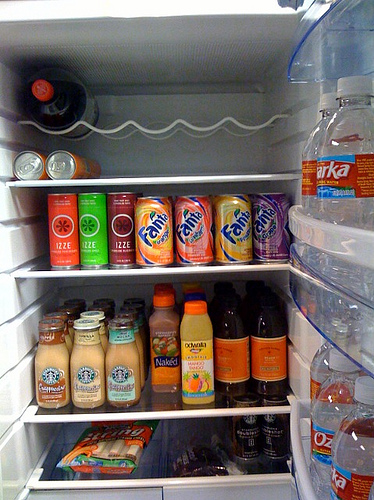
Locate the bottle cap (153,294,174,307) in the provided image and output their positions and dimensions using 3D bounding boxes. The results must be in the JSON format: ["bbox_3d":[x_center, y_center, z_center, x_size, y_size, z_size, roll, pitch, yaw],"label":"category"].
[{"bbox_3d":[-0.062,0.137,1.050,0.039,0.039,0.021,1,-84,-8],"label":"bottle cap"}]

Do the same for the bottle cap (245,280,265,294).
[{"bbox_3d":[0.214,0.117,1.227,0.046,0.043,0.032,0,-94,-5],"label":"bottle cap"}]

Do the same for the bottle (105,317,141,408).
[{"bbox_3d":[-0.171,0.305,1.027,0.095,0.093,0.222,-1,-93,-8],"label":"bottle"}]

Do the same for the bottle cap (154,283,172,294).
[{"bbox_3d":[-0.071,0.111,1.151,0.037,0.037,0.022,0,-88,-11],"label":"bottle cap"}]

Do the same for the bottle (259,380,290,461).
[{"bbox_3d":[0.240,0.490,1.061,0.066,0.065,0.163,-2,-85,-4],"label":"bottle"}]

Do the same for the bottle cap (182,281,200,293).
[{"bbox_3d":[0.011,0.118,1.198,0.036,0.036,0.019,-3,-85,-38],"label":"bottle cap"}]

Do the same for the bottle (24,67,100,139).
[{"bbox_3d":[-0.349,-0.411,1.039,0.125,0.341,0.123,-1,-77,-5],"label":"bottle"}]

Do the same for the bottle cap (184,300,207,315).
[{"bbox_3d":[0.023,0.151,0.993,0.041,0.041,0.018,-2,-83,-21],"label":"bottle cap"}]

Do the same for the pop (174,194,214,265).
[{"bbox_3d":[0.020,-0.059,1.044,0.152,0.152,0.183,0,-81,15],"label":"pop"}]

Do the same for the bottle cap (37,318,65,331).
[{"bbox_3d":[-0.354,0.196,0.986,0.058,0.034,0.025,2,-70,-6],"label":"bottle cap"}]

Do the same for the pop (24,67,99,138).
[{"bbox_3d":[-0.329,-0.389,1.023,0.168,0.305,0.167,1,-78,-7],"label":"pop"}]

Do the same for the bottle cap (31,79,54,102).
[{"bbox_3d":[-0.346,-0.387,0.915,0.048,0.046,0.048,5,-74,-18],"label":"bottle cap"}]

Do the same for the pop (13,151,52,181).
[{"bbox_3d":[-0.401,-0.219,0.970,0.074,0.046,0.067,-2,-70,-5],"label":"pop"}]

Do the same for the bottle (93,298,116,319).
[{"bbox_3d":[-0.254,0.174,1.169,0.065,0.066,0.059,1,-86,-4],"label":"bottle"}]

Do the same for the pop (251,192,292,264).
[{"bbox_3d":[0.231,-0.063,1.061,0.140,0.139,0.196,-7,-86,-45],"label":"pop"}]

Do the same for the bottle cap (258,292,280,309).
[{"bbox_3d":[0.226,0.138,1.051,0.043,0.043,0.041,-1,-90,1],"label":"bottle cap"}]

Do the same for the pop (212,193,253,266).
[{"bbox_3d":[0.125,-0.058,1.054,0.129,0.128,0.189,-6,-80,-29],"label":"pop"}]

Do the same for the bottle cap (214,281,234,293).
[{"bbox_3d":[0.116,0.120,1.237,0.037,0.037,0.033,1,-90,-7],"label":"bottle cap"}]

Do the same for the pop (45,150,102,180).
[{"bbox_3d":[-0.316,-0.235,1.044,0.054,0.198,0.053,31,-75,2],"label":"pop"}]

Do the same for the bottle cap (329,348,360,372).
[{"bbox_3d":[0.218,0.146,0.525,0.033,0.033,0.020,-2,-90,-28],"label":"bottle cap"}]

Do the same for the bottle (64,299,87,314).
[{"bbox_3d":[-0.347,0.175,1.159,0.045,0.045,0.041,1,-81,0],"label":"bottle"}]

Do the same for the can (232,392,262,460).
[{"bbox_3d":[0.165,0.500,1.074,0.089,0.090,0.159,-1,-91,20],"label":"can"}]
